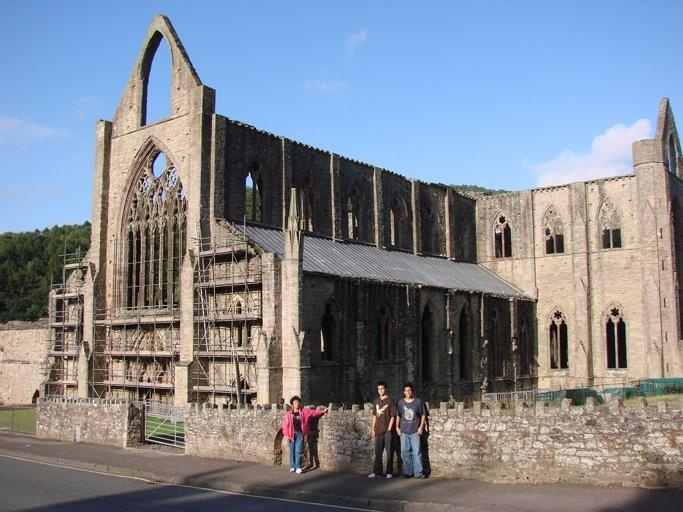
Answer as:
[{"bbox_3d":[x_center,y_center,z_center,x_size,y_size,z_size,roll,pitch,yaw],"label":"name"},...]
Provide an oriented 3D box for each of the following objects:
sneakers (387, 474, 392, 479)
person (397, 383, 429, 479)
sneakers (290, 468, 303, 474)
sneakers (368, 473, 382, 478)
[{"bbox_3d":[1.775,8.078,31.274,0.161,0.110,0.096,-14,-13,32],"label":"sneakers"},{"bbox_3d":[2.582,6.381,31.064,1.073,3.320,0.623,-4,5,6],"label":"person"},{"bbox_3d":[-1.695,8.198,32.599,0.465,0.213,0.175,-1,-4,14],"label":"sneakers"},{"bbox_3d":[1.283,8.129,31.485,0.448,0.203,0.182,7,-14,4],"label":"sneakers"}]
